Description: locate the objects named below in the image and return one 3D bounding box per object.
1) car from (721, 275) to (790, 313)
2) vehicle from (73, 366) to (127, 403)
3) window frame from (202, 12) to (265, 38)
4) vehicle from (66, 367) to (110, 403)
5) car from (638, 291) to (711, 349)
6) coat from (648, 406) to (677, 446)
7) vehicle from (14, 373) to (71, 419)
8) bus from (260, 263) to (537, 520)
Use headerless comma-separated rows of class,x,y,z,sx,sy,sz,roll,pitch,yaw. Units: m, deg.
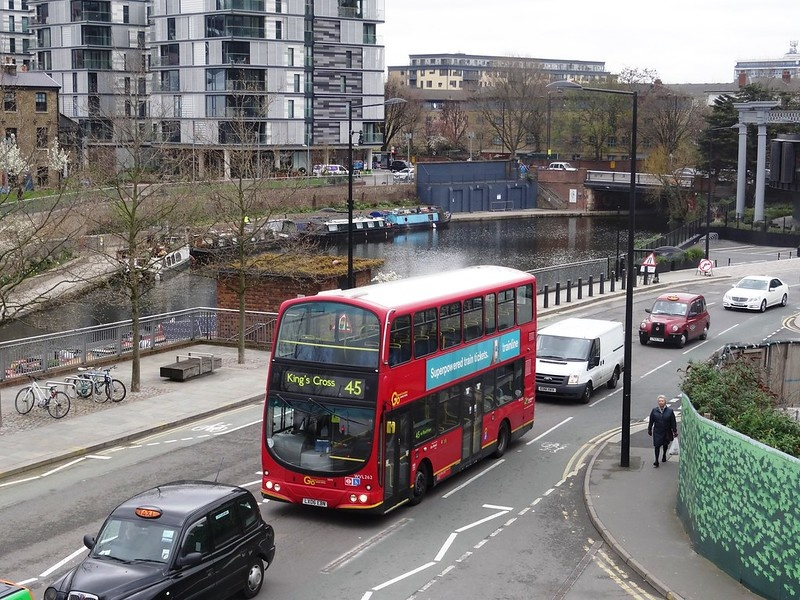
car,18.565,-0.342,50.208,3.694,1.584,1.859,-7,13,-40
vehicle,-9.576,2.680,30.643,1.746,1.174,0.916,3,13,-5
window frame,-16.872,-28.034,97.354,7.316,2.972,2.158,-2,4,-28
vehicle,-9.785,2.707,30.432,1.487,1.038,0.794,4,10,2
car,11.875,0.936,41.581,3.035,2.204,1.894,-6,12,-36
coat,7.018,3.428,25.795,0.664,1.164,0.720,3,10,13
vehicle,-10.769,3.020,28.985,1.651,0.957,0.755,3,10,9
bus,0.130,1.806,26.059,3.229,5.242,10.231,2,5,30
